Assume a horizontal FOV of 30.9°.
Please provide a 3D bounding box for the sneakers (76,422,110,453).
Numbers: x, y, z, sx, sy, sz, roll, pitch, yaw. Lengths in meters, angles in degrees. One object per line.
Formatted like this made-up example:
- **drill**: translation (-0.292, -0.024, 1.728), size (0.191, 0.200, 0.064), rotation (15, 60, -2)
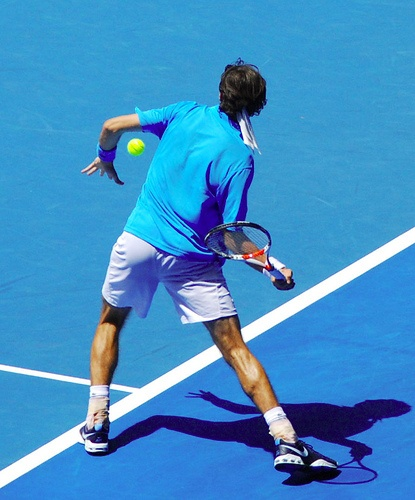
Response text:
- **sneakers**: translation (-0.606, 1.020, 4.052), size (0.098, 0.087, 0.210), rotation (2, 6, -12)

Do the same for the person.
- **person**: translation (-0.134, 0.130, 3.936), size (1.276, 2.040, 1.005), rotation (-9, 15, 12)

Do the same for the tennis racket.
- **tennis racket**: translation (0.176, -0.007, 3.780), size (0.260, 0.425, 0.052), rotation (-17, 49, 35)
